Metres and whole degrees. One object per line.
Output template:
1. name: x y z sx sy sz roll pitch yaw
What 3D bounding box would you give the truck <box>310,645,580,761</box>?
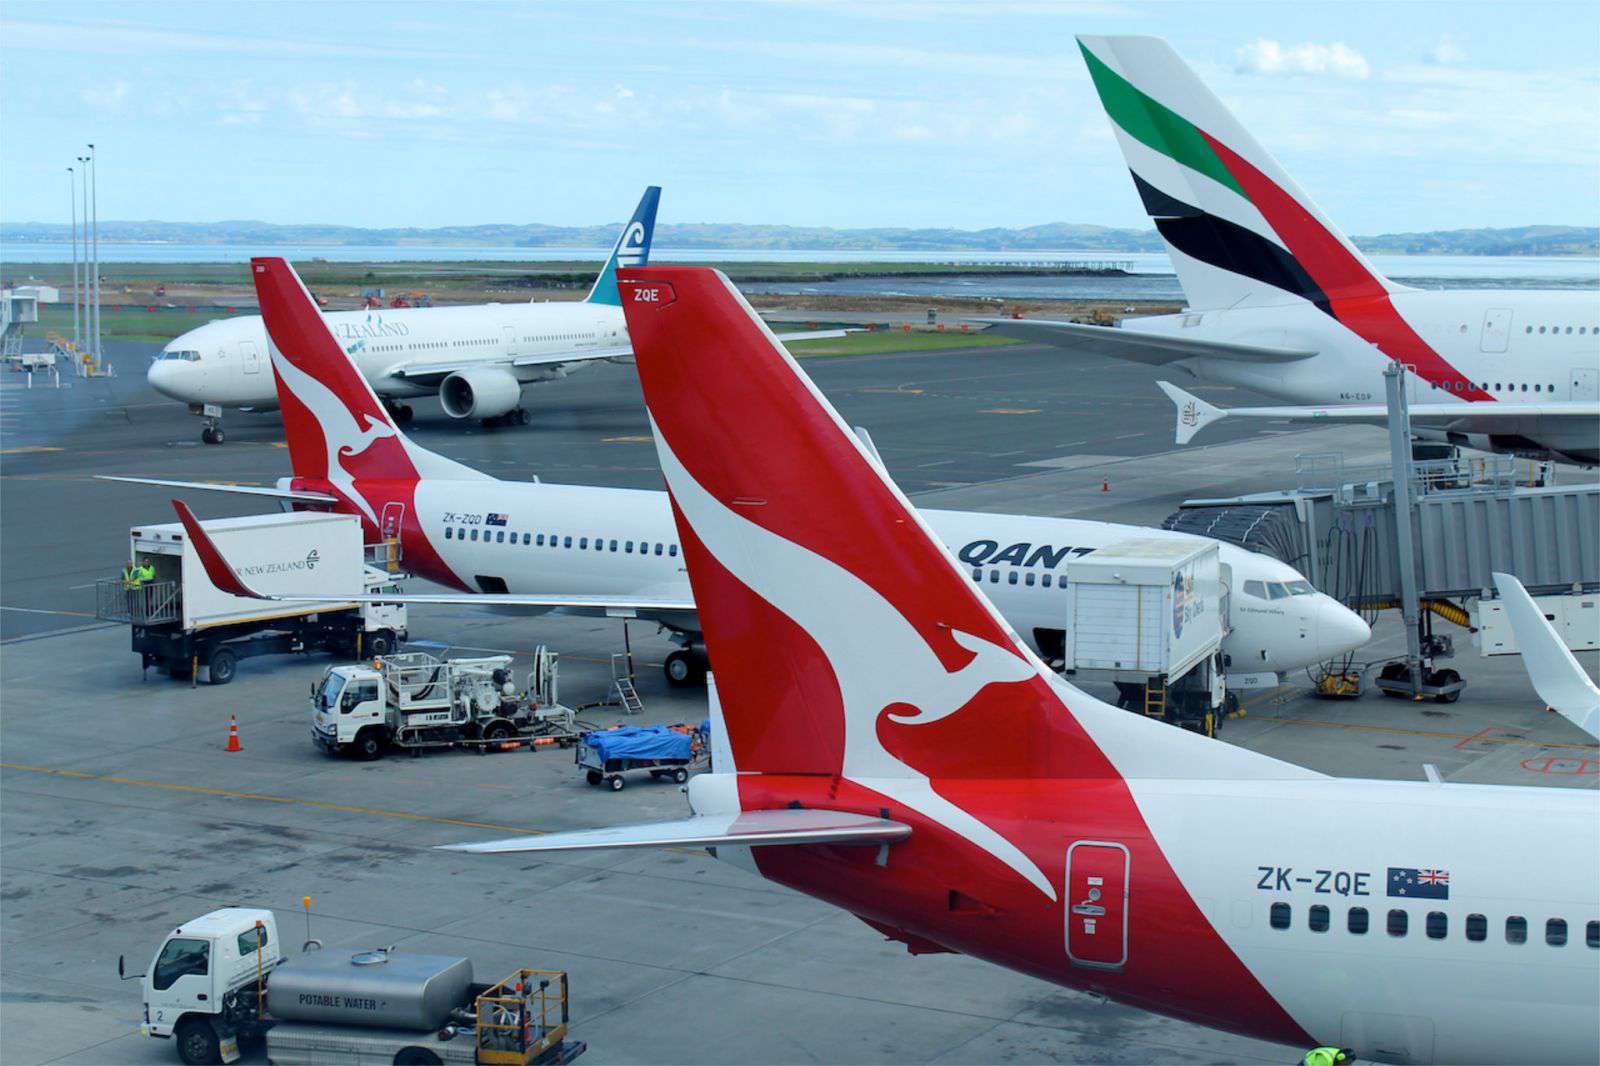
1. truck: -9.332 4.178 41.007 8.739 1.802 2.441 0 0 -13

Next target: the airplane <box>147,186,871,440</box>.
1. airplane: -20.528 -12.874 95.287 34.907 8.994 38.117 12 20 24
